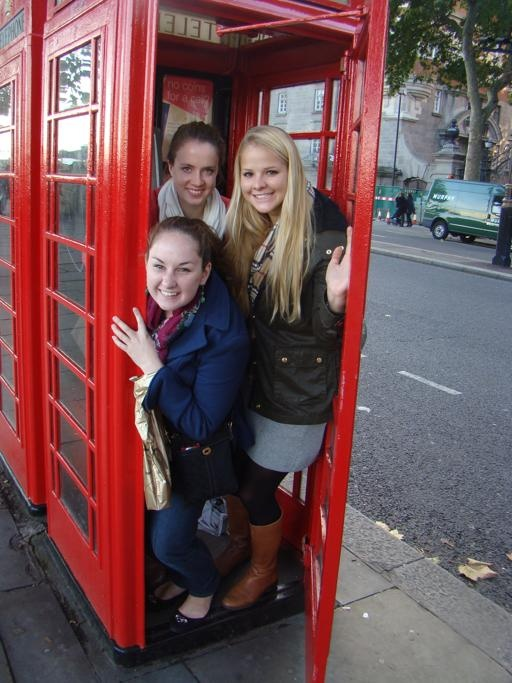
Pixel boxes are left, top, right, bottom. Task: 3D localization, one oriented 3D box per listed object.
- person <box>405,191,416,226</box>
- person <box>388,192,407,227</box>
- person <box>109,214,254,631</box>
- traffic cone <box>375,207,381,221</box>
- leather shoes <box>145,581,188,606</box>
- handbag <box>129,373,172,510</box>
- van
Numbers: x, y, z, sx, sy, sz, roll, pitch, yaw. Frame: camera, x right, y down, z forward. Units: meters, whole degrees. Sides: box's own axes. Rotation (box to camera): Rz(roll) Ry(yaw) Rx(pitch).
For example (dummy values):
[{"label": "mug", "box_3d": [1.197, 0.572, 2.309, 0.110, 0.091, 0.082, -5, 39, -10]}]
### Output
[{"label": "person", "box_3d": [6.738, -5.783, 24.314, 0.417, 1.452, 1.487, 6, 13, 14]}, {"label": "person", "box_3d": [6.382, -5.863, 24.576, 0.604, 1.433, 2.000, 6, 12, 12]}, {"label": "person", "box_3d": [-0.220, 0.297, 1.872, 0.492, 1.396, 0.314, -8, 17, -43]}, {"label": "traffic cone", "box_3d": [6.119, -6.358, 27.609, 0.270, 0.597, 1.203, 5, 12, 10]}, {"label": "leather shoes", "box_3d": [-0.370, 1.018, 2.267, 0.174, 0.046, 0.063, 2, 8, -29]}, {"label": "handbag", "box_3d": [-0.321, 0.299, 1.686, 0.110, 0.422, 0.120, 0, 13, -13]}, {"label": "van", "box_3d": [7.337, -4.452, 18.595, 1.689, 1.632, 2.947, -9, 18, -29]}]
